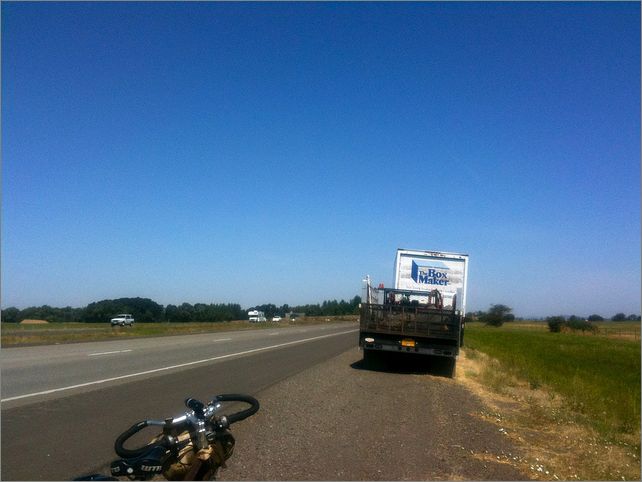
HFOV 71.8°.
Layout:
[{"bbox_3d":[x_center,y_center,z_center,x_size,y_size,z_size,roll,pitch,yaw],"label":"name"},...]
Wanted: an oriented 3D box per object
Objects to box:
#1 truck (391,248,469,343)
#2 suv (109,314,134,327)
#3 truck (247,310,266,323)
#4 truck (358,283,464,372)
[{"bbox_3d":[4.083,2.135,16.551,2.199,4.603,4.190,1,-12,8],"label":"truck"},{"bbox_3d":[-29.474,11.710,65.882,1.895,1.784,3.347,-5,-26,2],"label":"suv"},{"bbox_3d":[-14.223,16.734,96.621,2.208,3.181,6.092,-3,-17,2],"label":"truck"},{"bbox_3d":[3.646,3.315,18.080,3.419,3.236,6.221,2,-7,17],"label":"truck"}]
